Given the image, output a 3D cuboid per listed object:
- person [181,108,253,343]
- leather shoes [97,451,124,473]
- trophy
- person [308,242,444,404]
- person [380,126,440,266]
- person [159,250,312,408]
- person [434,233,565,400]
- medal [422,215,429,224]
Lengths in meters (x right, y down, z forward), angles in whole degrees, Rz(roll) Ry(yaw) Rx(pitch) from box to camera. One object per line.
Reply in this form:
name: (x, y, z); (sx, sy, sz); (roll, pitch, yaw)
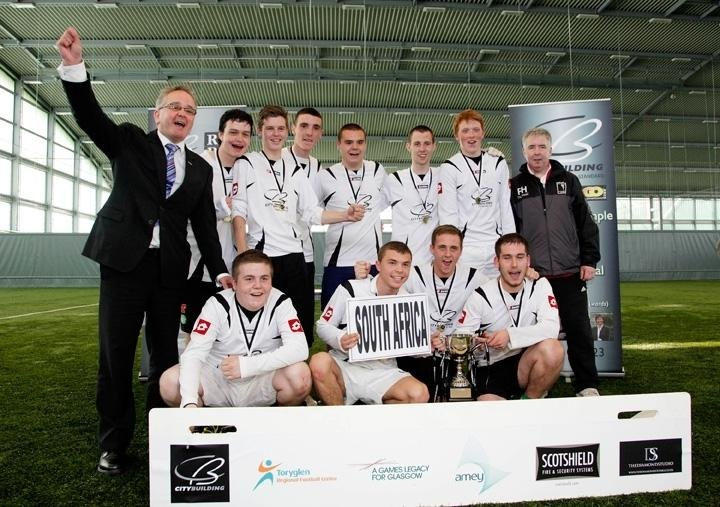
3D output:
person: (-1.298, -0.118, 6.020); (0.625, 2.662, 0.739); (-6, 17, -17)
leather shoes: (-1.946, 1.609, 4.468); (0.216, 0.164, 0.066); (-3, -3, 4)
trophy: (0.847, 0.970, 4.901); (0.435, 0.599, 0.728); (-3, -2, 11)
person: (0.035, 0.619, 5.004); (0.961, 1.406, 0.649); (-2, -3, -5)
person: (0.565, -0.578, 6.017); (0.448, 1.525, 0.382); (2, 4, -1)
person: (-0.969, 0.645, 5.135); (1.097, 1.544, 1.299); (3, 11, -10)
person: (1.335, 0.649, 5.391); (0.719, 1.945, 0.822); (0, 0, -3)
medal: (0.683, -0.352, 6.006); (0.076, 0.082, 0.028); (-1, -3, -26)
